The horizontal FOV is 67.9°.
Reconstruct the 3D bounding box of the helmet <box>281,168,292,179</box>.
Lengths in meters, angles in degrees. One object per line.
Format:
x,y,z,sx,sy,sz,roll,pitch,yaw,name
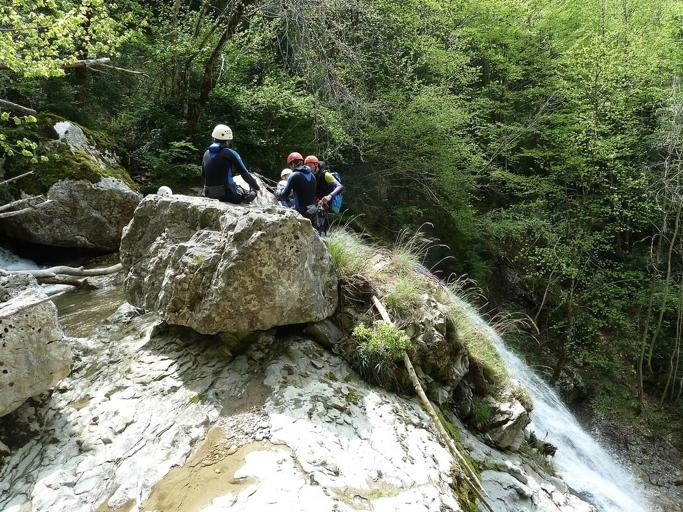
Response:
-1.319,-1.963,12.044,0.263,0.204,0.369,-12,15,-25,helmet

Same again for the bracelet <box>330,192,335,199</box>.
-0.232,-1.365,11.488,0.148,0.051,0.110,-41,45,-14,bracelet

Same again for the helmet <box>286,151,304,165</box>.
-1.110,-2.192,11.450,0.330,0.277,0.398,-8,13,-29,helmet

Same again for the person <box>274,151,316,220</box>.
-1.053,-1.235,11.547,0.889,2.239,0.898,-3,16,-10,person

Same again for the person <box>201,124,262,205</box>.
-2.413,-1.990,11.185,1.205,1.715,1.100,2,10,9,person

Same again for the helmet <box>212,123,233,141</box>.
-2.549,-2.627,10.894,0.358,0.374,0.343,2,28,-2,helmet

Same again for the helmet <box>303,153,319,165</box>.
-0.710,-2.228,11.658,0.308,0.274,0.228,4,1,-37,helmet
